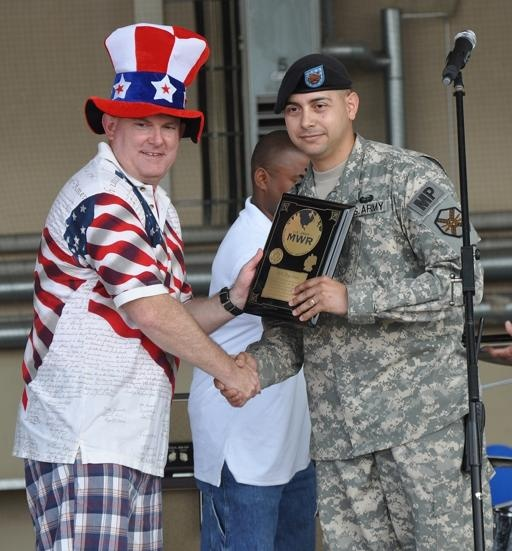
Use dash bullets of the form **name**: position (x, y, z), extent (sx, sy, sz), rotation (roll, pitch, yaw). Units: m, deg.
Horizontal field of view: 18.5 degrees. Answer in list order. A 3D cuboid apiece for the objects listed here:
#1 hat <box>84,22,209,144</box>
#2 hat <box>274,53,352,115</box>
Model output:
- **hat**: position (-0.325, -0.635, 5.269), extent (0.384, 0.348, 0.349), rotation (3, -3, 17)
- **hat**: position (0.191, -0.633, 5.127), extent (0.252, 0.147, 0.185), rotation (0, 18, 19)
